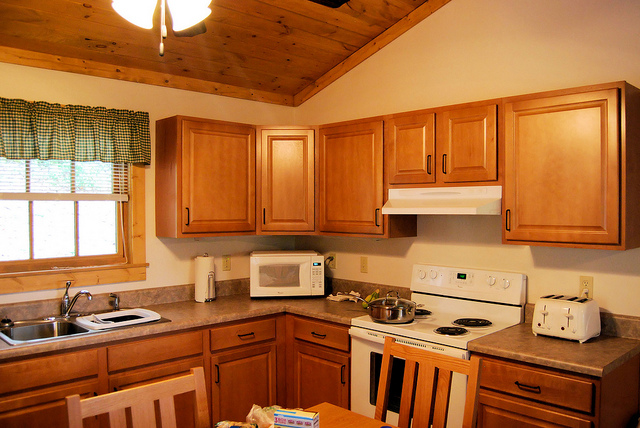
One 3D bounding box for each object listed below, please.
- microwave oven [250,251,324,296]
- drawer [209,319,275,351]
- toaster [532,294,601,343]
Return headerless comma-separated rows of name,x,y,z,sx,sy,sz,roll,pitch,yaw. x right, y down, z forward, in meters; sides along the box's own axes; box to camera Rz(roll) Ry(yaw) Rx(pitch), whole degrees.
microwave oven,-0.306,0.529,4.335,0.636,0.356,0.449,0,3,-3
drawer,-0.733,0.974,3.943,0.598,0.130,0.541,-2,-7,-37
toaster,1.567,0.635,3.101,0.320,0.221,0.297,-2,-5,38
